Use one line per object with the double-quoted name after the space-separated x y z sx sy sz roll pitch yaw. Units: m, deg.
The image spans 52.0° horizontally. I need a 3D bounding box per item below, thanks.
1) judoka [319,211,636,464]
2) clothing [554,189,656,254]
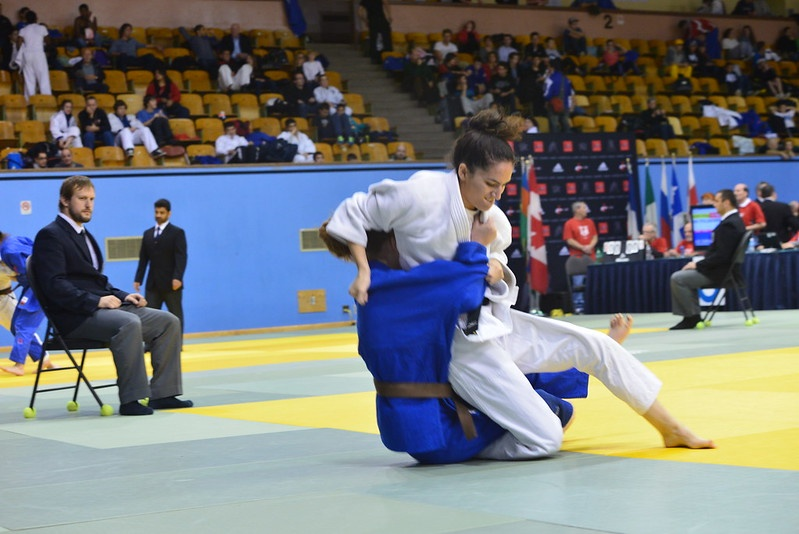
0.360 0.423 6.066 1.356 1.817 1.299 -12 4 4 "judoka"
4.602 -0.817 17.800 2.132 2.001 0.996 -6 9 22 "clothing"
